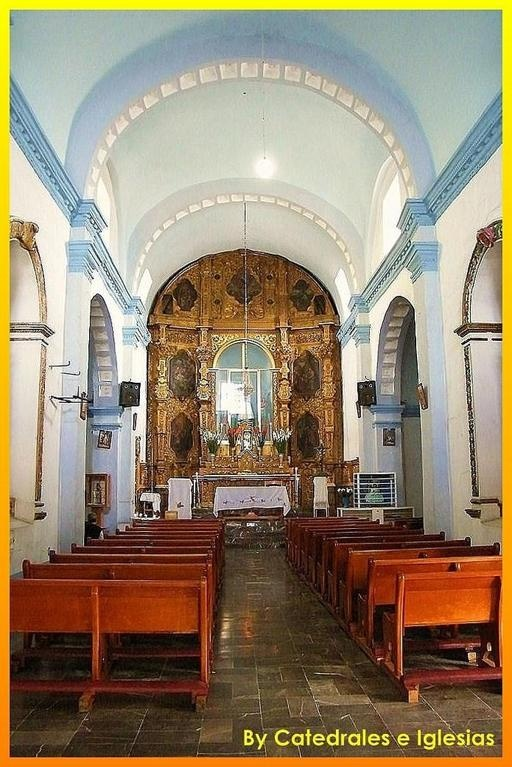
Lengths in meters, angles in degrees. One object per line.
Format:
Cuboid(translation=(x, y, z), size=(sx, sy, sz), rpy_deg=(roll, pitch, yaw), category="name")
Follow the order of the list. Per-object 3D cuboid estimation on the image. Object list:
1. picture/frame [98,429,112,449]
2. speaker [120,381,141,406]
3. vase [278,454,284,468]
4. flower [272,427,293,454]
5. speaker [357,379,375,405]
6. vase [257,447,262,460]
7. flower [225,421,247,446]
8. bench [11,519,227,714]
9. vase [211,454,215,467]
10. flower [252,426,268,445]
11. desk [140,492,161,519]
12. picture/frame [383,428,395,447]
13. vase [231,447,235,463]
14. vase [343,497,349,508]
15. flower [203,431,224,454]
Cuboid(translation=(-3.219, 1.199, 12.085), size=(0.293, 0.499, 0.050), rpy_deg=(4, -25, -13), category="picture/frame")
Cuboid(translation=(-2.819, 0.238, 12.685), size=(0.362, 0.640, 0.559), rpy_deg=(0, -10, 0), category="speaker")
Cuboid(translation=(0.731, 2.347, 17.164), size=(0.130, 0.387, 0.345), rpy_deg=(0, -10, -1), category="vase")
Cuboid(translation=(0.797, 1.763, 17.571), size=(0.531, 0.933, 0.616), rpy_deg=(-5, -2, 2), category="flower")
Cuboid(translation=(2.435, 0.251, 12.789), size=(0.465, 0.777, 0.436), rpy_deg=(0, -10, 3), category="speaker")
Cuboid(translation=(0.069, 2.149, 17.394), size=(0.145, 0.398, 0.342), rpy_deg=(0, -10, -2), category="vase")
Cuboid(translation=(-0.621, 1.501, 17.483), size=(0.540, 0.855, 0.372), rpy_deg=(6, -8, -7), category="flower")
Cuboid(translation=(-1.102, 1.845, 4.804), size=(1.530, 0.815, 2.977), rpy_deg=(0, -11, -2), category="bench")
Cuboid(translation=(-1.329, 2.312, 17.024), size=(0.112, 0.362, 0.141), rpy_deg=(1, -9, -8), category="vase")
Cuboid(translation=(0.087, 1.613, 17.540), size=(0.418, 0.610, 0.476), rpy_deg=(1, 1, -6), category="flower")
Cuboid(translation=(-2.805, 3.189, 14.867), size=(0.551, 0.760, 0.571), rpy_deg=(10, -18, -35), category="desk")
Cuboid(translation=(2.896, 1.204, 12.588), size=(0.301, 0.517, 0.047), rpy_deg=(1, -8, -1), category="picture/frame")
Cuboid(translation=(-0.709, 2.137, 17.127), size=(0.112, 0.436, 0.281), rpy_deg=(0, -10, -3), category="vase")
Cuboid(translation=(2.386, 3.186, 15.356), size=(0.141, 0.259, 0.474), rpy_deg=(-1, -11, 8), category="vase")
Cuboid(translation=(-1.333, 1.874, 17.352), size=(0.498, 0.810, 0.545), rpy_deg=(-4, -25, 2), category="flower")
